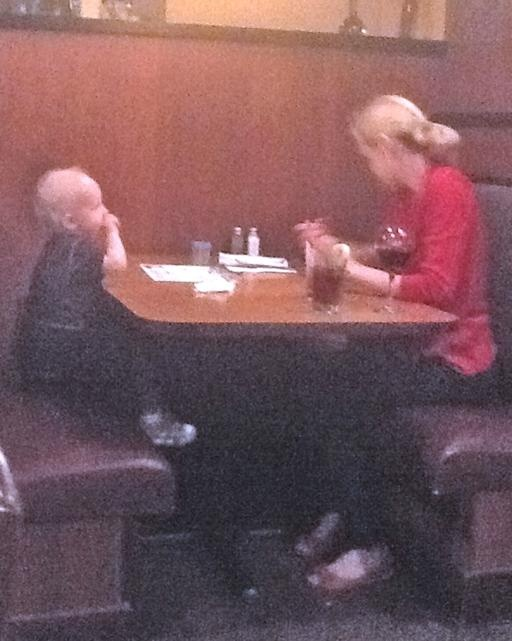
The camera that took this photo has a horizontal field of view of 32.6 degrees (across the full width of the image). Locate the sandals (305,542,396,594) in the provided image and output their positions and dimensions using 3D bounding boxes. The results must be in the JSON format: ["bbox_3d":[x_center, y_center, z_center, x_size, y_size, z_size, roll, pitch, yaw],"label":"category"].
[{"bbox_3d":[0.226,0.593,2.080,0.161,0.038,0.084,-14,13,-28],"label":"sandals"}]
